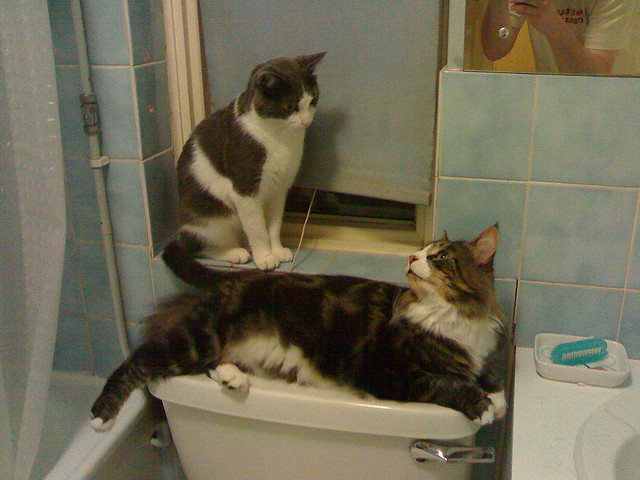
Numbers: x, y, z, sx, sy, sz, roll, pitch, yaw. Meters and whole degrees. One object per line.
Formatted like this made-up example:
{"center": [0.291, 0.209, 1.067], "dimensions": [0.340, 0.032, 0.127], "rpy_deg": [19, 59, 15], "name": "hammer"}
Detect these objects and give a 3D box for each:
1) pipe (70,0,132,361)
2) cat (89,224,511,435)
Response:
{"center": [-0.601, -0.136, 1.737], "dimensions": [0.140, 0.997, 0.047], "rpy_deg": [15, 22, 28], "name": "pipe"}
{"center": [-0.051, 0.184, 1.524], "dimensions": [0.987, 0.430, 0.435], "rpy_deg": [1, 14, 8], "name": "cat"}
